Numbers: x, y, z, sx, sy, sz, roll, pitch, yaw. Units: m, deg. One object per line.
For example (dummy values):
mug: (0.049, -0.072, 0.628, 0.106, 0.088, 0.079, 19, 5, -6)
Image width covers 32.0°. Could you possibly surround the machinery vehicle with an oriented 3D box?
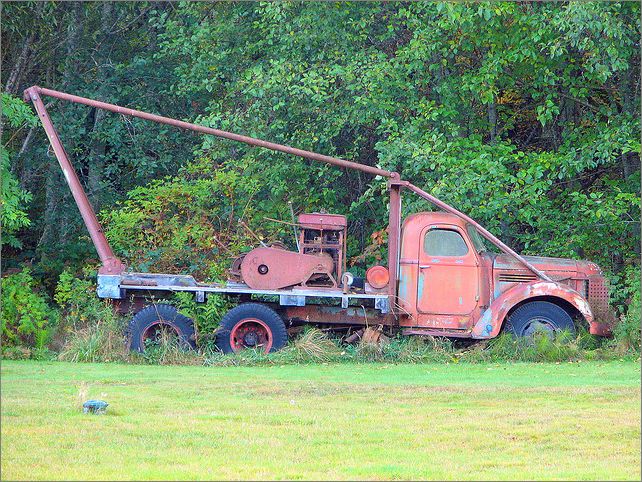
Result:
machinery vehicle: (0.025, -0.183, 21.952, 10.875, 5.388, 3.129, 1, -7, -9)
